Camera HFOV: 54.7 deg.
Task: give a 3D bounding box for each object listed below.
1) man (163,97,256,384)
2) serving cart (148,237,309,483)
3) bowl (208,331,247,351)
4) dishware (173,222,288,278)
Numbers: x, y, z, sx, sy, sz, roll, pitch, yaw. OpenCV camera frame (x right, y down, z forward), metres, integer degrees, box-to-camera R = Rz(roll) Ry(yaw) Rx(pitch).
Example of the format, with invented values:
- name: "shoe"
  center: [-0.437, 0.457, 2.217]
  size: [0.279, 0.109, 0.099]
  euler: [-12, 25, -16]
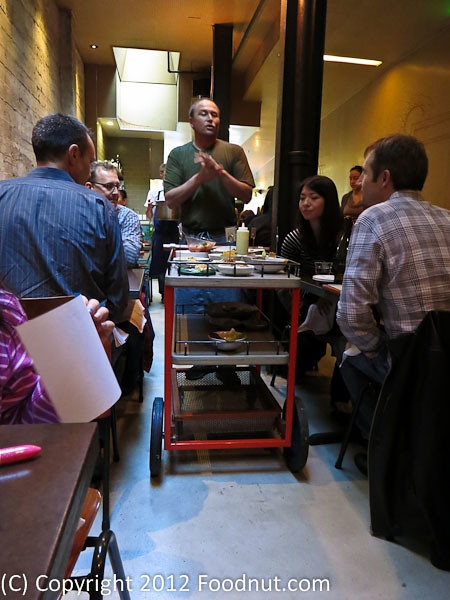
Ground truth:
- name: "man"
  center: [-0.124, -0.394, 2.722]
  size: [0.477, 1.648, 0.578]
  euler: [2, 12, 2]
- name: "serving cart"
  center: [-0.010, 0.227, 2.266]
  size: [0.634, 0.894, 1.258]
  euler: [3, 5, -1]
- name: "bowl"
  center: [0.013, 0.161, 1.711]
  size: [0.092, 0.035, 0.096]
  euler: [1, 22, 0]
- name: "dishware"
  center: [0.009, -0.222, 1.913]
  size: [0.467, 0.200, 0.695]
  euler: [1, 7, -8]
